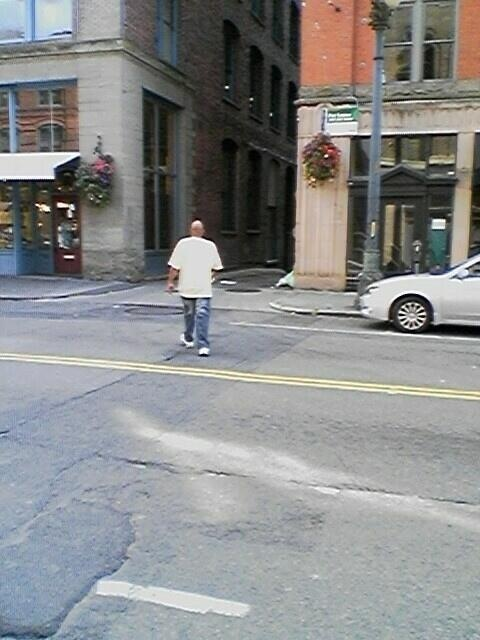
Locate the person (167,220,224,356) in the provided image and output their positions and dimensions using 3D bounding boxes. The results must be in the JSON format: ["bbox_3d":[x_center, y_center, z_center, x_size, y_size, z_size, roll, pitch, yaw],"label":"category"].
[{"bbox_3d":[-0.519,-0.379,9.575,0.585,1.428,1.123,0,7,-5],"label":"person"}]

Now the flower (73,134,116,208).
[{"bbox_3d":[-3.378,-3.421,19.637,0.957,1.520,0.814,3,19,18],"label":"flower"}]

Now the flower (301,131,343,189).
[{"bbox_3d":[1.681,-3.386,18.167,0.841,1.111,0.534,4,8,27],"label":"flower"}]

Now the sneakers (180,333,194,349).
[{"bbox_3d":[-0.637,0.232,9.919,0.093,0.110,0.247,1,18,-7],"label":"sneakers"}]
